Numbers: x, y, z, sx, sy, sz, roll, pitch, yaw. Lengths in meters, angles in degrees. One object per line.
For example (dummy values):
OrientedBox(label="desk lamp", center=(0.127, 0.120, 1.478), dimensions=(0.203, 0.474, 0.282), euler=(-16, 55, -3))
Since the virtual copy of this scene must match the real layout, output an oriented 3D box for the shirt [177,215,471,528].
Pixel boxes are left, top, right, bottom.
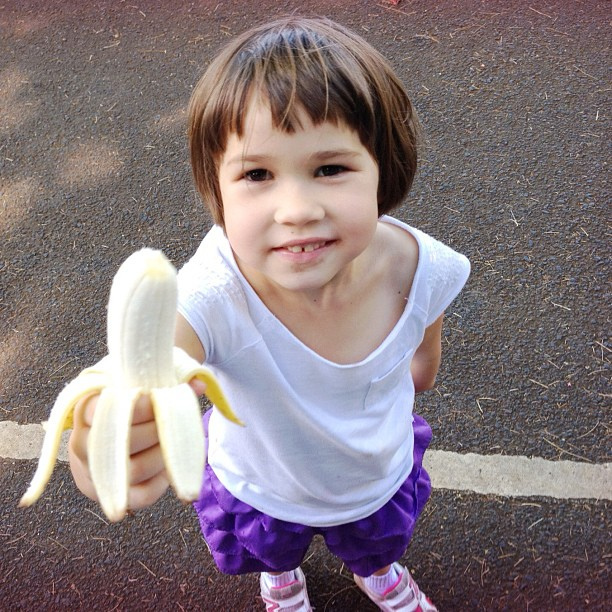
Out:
OrientedBox(label="shirt", center=(0.005, 0.242, 2.312), dimensions=(0.994, 0.866, 0.594), euler=(-7, 24, -29))
